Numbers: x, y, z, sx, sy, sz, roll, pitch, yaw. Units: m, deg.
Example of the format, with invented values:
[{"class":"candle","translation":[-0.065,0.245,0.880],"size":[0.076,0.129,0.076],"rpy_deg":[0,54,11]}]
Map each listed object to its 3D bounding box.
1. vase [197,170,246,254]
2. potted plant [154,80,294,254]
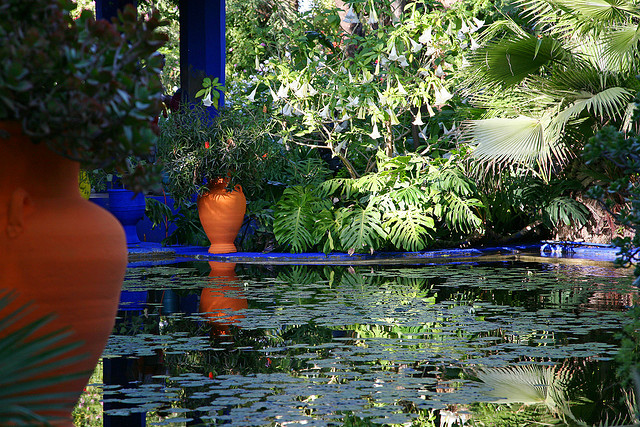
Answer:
[{"class":"vase","translation":[-0.882,-0.032,10.022],"size":[0.396,0.761,0.346],"rpy_deg":[-4,5,-37]},{"class":"potted plant","translation":[-0.867,-0.482,10.097],"size":[0.988,1.735,0.934],"rpy_deg":[-1,0,21]}]
